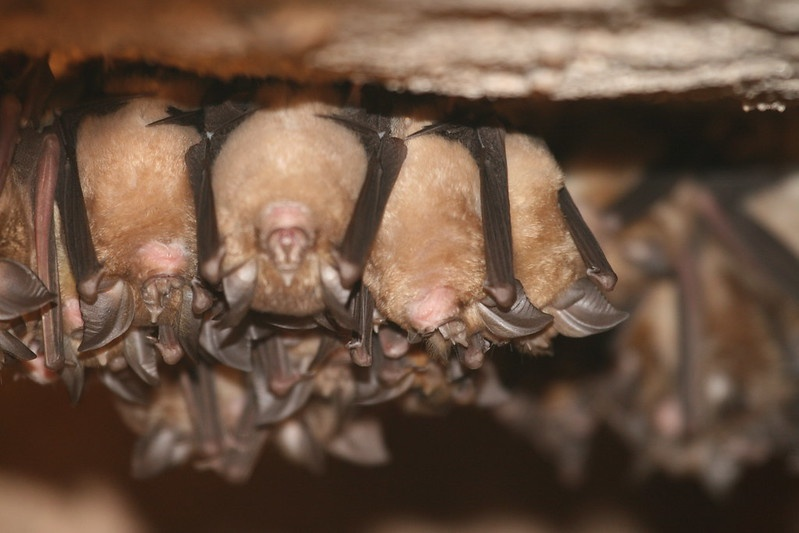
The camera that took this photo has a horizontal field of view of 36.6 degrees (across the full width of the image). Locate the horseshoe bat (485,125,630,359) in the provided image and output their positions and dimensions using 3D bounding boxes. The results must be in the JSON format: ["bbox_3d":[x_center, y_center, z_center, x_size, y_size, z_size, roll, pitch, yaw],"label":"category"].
[{"bbox_3d":[0.449,-0.168,4.363,0.620,0.762,0.304,2,-13,-7],"label":"horseshoe bat"}]

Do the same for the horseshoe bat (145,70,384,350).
[{"bbox_3d":[-0.388,-0.219,4.136,0.727,0.664,0.609,3,28,-2],"label":"horseshoe bat"}]

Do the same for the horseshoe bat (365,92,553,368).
[{"bbox_3d":[0.210,-0.102,4.363,0.712,0.861,0.321,9,-16,-8],"label":"horseshoe bat"}]
